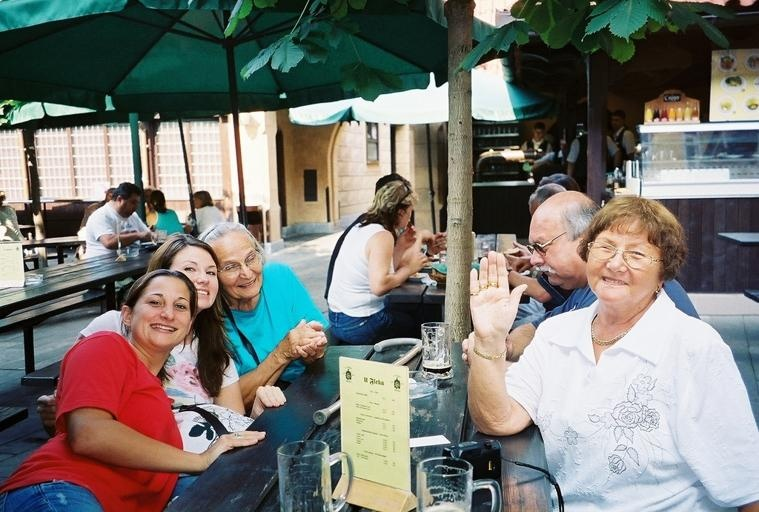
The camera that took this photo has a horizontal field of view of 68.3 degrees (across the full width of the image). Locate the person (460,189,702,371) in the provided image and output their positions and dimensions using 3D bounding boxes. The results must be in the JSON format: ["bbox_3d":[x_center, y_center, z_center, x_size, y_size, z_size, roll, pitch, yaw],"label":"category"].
[{"bbox_3d":[1.117,0.112,3.142,1.214,0.867,0.611,-13,-3,26],"label":"person"}]

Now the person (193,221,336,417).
[{"bbox_3d":[-0.706,0.369,3.275,0.799,1.135,0.720,-8,17,10],"label":"person"}]

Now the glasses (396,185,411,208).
[{"bbox_3d":[0.212,-0.479,4.625,0.121,0.156,0.153,-6,-37,3],"label":"glasses"}]

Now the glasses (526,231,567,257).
[{"bbox_3d":[0.905,-0.061,3.055,0.130,0.042,0.123,-27,2,-15],"label":"glasses"}]

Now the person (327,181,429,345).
[{"bbox_3d":[-0.028,0.044,4.550,0.800,1.306,0.631,-3,5,-11],"label":"person"}]

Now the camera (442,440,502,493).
[{"bbox_3d":[0.369,0.742,2.084,0.182,0.135,0.098,18,5,-12],"label":"camera"}]
